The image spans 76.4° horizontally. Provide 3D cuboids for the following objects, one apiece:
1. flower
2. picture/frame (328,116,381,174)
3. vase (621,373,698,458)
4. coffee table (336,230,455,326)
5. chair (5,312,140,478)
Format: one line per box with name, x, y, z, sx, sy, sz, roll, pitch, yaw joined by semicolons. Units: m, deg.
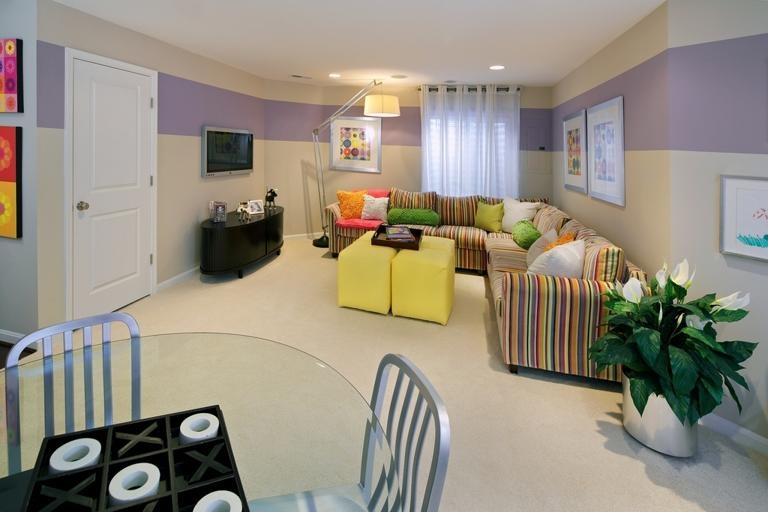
flower;2.021;0.503;3.664;1.083;1.028;1.137;1;0;22
picture/frame;-0.466;-1.870;8.054;0.856;0.977;0.077;1;2;11
vase;1.926;1.110;3.523;0.509;0.389;0.497;-1;4;-12
coffee table;0.198;0.013;5.383;1.070;0.595;0.828;4;19;13
chair;-1.700;0.756;2.669;0.587;0.770;0.417;1;-3;-25
